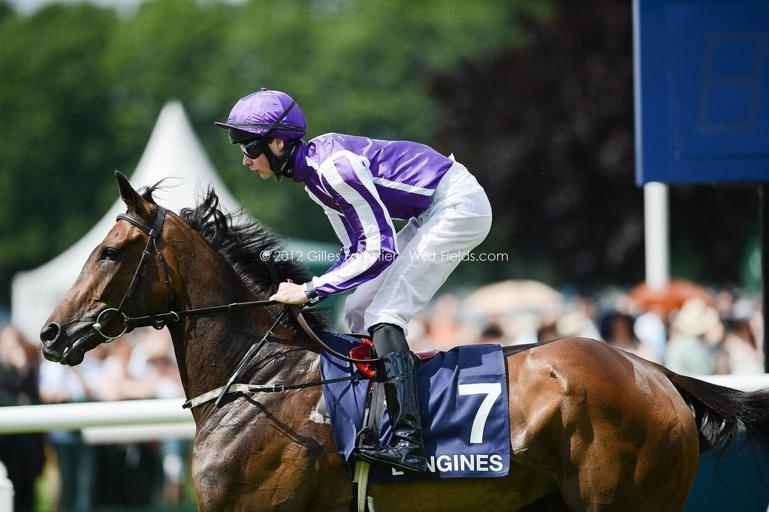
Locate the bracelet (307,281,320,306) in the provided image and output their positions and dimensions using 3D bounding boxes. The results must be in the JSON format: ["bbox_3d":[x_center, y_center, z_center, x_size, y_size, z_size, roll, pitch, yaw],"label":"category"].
[{"bbox_3d":[-0.659,0.332,13.982,0.091,0.180,0.147,-20,13,12],"label":"bracelet"}]
